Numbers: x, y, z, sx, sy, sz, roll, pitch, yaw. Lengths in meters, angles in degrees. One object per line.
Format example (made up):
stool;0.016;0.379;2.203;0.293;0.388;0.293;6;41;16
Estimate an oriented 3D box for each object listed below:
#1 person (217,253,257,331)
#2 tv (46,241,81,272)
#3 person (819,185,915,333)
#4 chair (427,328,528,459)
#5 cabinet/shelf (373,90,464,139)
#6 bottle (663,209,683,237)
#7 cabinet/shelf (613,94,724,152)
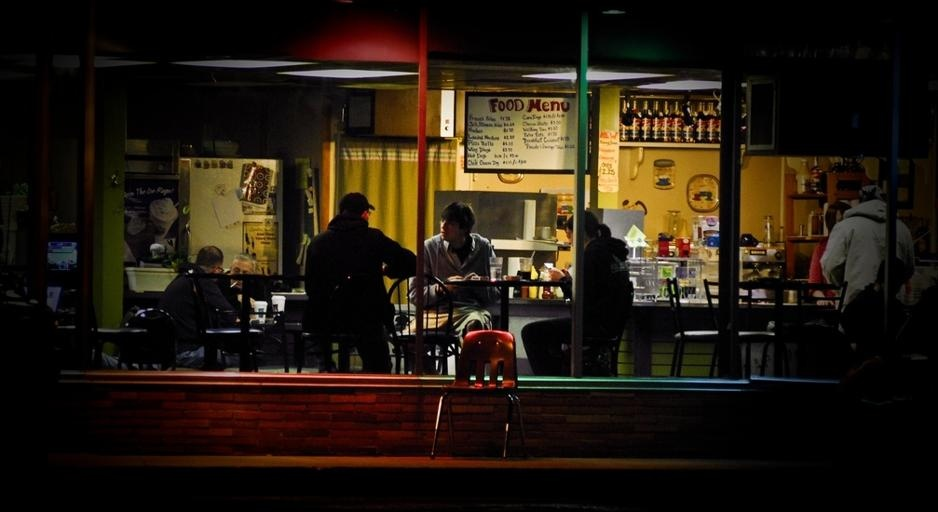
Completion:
person;-2.885;0.420;12.335;0.520;1.070;0.543;0;-1;-5
tv;-5.147;0.019;12.818;0.480;0.399;0.056;0;-13;-3
person;4.748;-0.115;12.189;1.010;1.502;0.766;2;1;29
chair;0.173;1.456;11.358;0.914;1.504;1.386;2;0;7
cabinet/shelf;-0.761;-2.291;14.397;1.497;0.862;0.730;0;6;2
bottle;3.352;-0.539;16.543;0.324;0.400;0.982;2;1;10
cabinet/shelf;2.986;-2.024;15.113;1.613;0.665;0.435;1;1;-16
